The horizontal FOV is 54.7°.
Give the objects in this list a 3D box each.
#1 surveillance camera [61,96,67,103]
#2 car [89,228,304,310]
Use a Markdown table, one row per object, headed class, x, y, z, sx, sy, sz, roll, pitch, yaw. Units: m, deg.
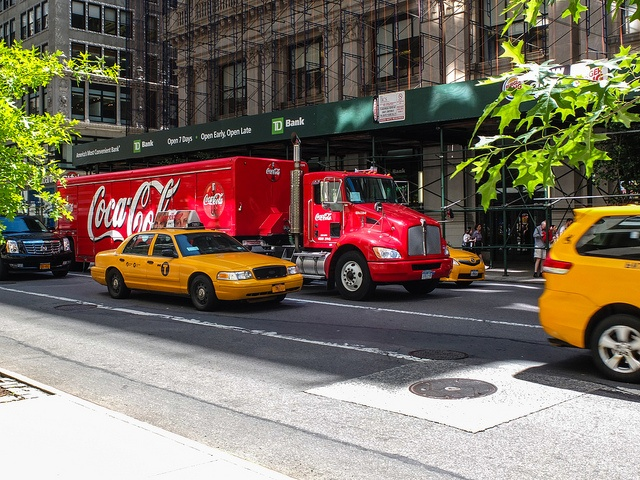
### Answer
| class | x | y | z | sx | sy | sz | roll | pitch | yaw |
| --- | --- | --- | --- | --- | --- | --- | --- | --- | --- |
| surveillance camera | -21.239 | -11.828 | 51.326 | 0.154 | 0.697 | 0.551 | 1 | 5 | 39 |
| car | -2.980 | 0.604 | 14.153 | 4.440 | 1.248 | 1.906 | -1 | -1 | 35 |
